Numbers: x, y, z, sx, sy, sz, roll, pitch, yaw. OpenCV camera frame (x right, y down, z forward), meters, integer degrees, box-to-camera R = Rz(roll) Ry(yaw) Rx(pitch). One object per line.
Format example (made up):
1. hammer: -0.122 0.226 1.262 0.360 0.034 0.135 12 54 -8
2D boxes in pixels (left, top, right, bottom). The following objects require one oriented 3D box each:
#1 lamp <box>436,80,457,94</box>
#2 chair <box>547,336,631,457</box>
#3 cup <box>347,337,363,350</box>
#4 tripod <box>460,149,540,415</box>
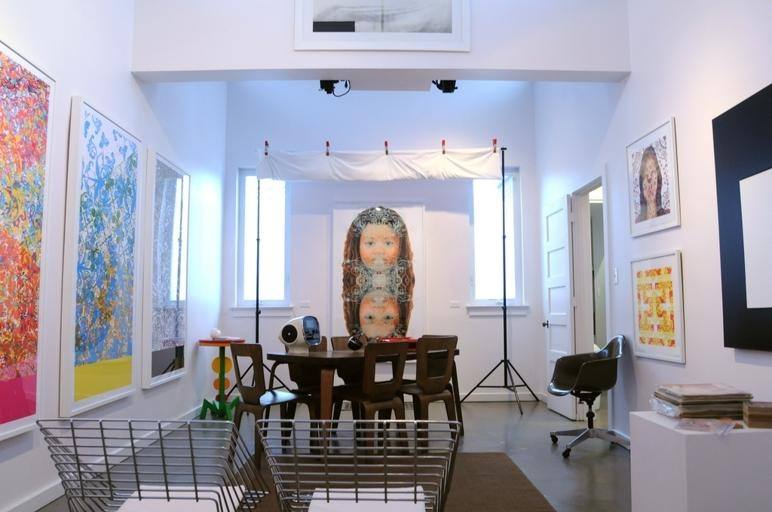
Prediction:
1. lamp: 0.756 -2.123 7.077 0.235 0.276 0.177 -2 11 4
2. chair: 2.205 1.450 6.300 0.933 1.460 1.064 1 -3 -5
3. cup: -0.325 0.908 5.961 0.145 0.124 0.150 9 -15 2
4. tripod: 1.644 0.217 7.941 0.935 3.613 0.623 2 -4 -30
